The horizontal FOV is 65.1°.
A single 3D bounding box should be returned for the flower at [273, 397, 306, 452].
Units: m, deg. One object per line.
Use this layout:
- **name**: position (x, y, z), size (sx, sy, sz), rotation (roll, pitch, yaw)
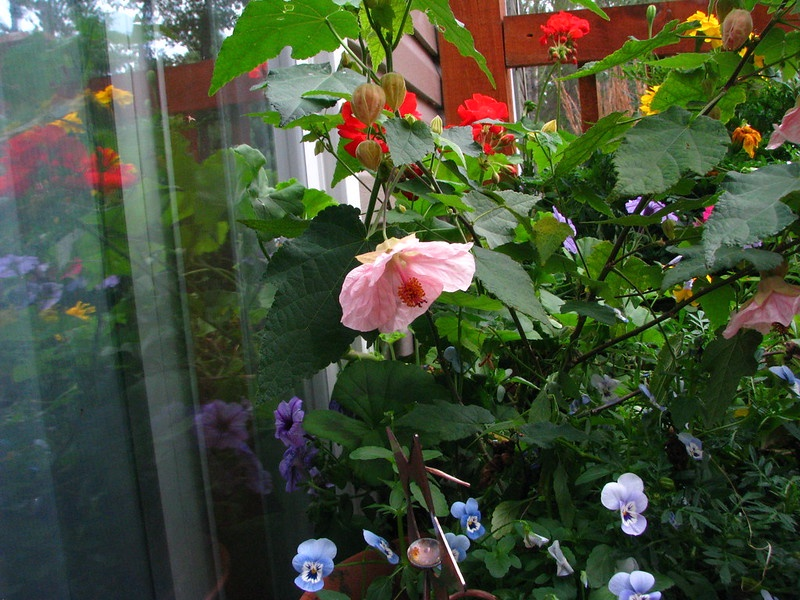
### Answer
- **flower**: position (-0.240, 0.273, 1.372), size (0.098, 0.103, 0.031), rotation (-21, -21, 5)
